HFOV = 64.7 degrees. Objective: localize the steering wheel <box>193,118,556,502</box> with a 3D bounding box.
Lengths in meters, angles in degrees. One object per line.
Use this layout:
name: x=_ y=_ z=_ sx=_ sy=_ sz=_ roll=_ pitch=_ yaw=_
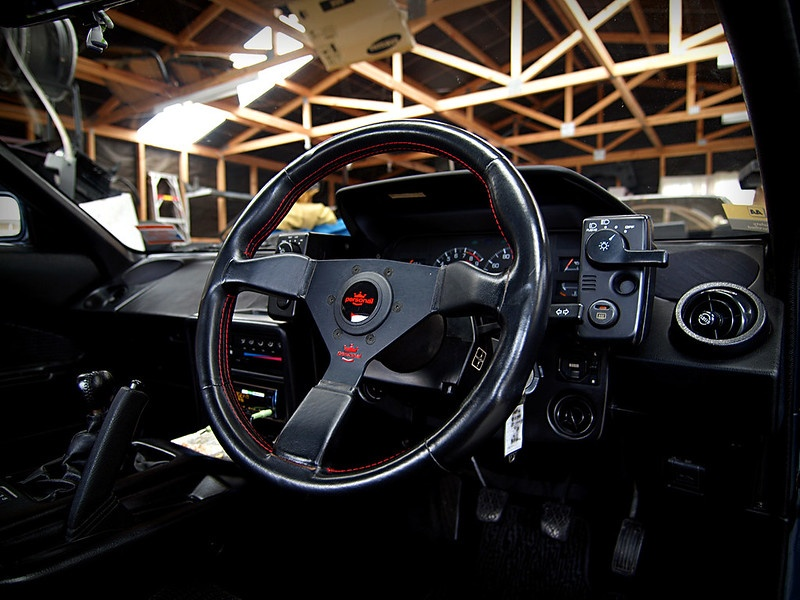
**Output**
steering wheel: x=0.020 y=0.030 z=1.332 sx=0.730 sy=0.797 sz=0.205 roll=1 pitch=-15 yaw=35
